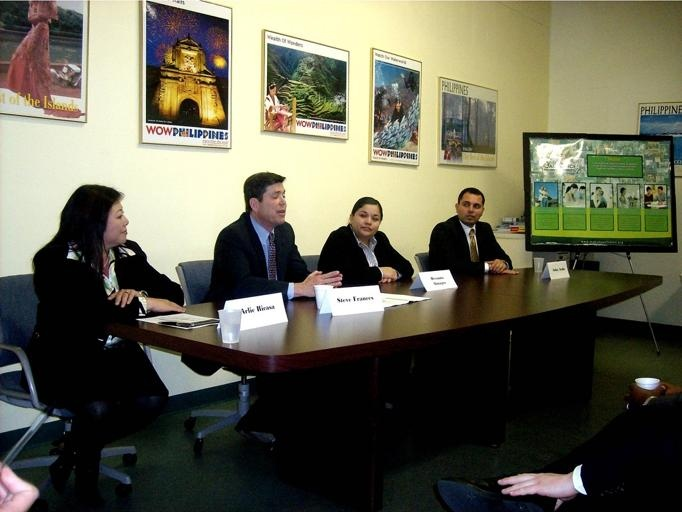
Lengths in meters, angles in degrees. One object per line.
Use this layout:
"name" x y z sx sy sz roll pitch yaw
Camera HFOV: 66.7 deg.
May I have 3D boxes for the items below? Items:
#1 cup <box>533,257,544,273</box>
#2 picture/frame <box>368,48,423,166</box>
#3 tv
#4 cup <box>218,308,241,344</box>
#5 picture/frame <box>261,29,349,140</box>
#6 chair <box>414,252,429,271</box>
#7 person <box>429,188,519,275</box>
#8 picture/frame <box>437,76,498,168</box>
"cup" 1.623 0.080 4.281 0.113 0.132 0.115 -1 3 0
"picture/frame" 0.514 -1.386 4.910 0.671 1.001 0.050 -4 7 -41
"tv" 2.675 -0.641 5.406 1.226 0.951 0.027 2 -6 -7
"cup" -0.413 0.266 1.942 0.110 0.126 0.109 0 1 0
"picture/frame" -0.318 -1.385 4.188 0.035 0.864 1.030 3 3 44
"chair" 0.665 0.052 4.289 0.126 0.152 0.132 0 -2 -24
"person" 1.143 -0.228 4.430 0.889 0.698 0.579 -4 7 -41
"picture/frame" 1.334 -1.448 5.603 1.114 0.932 0.082 0 1 -43
